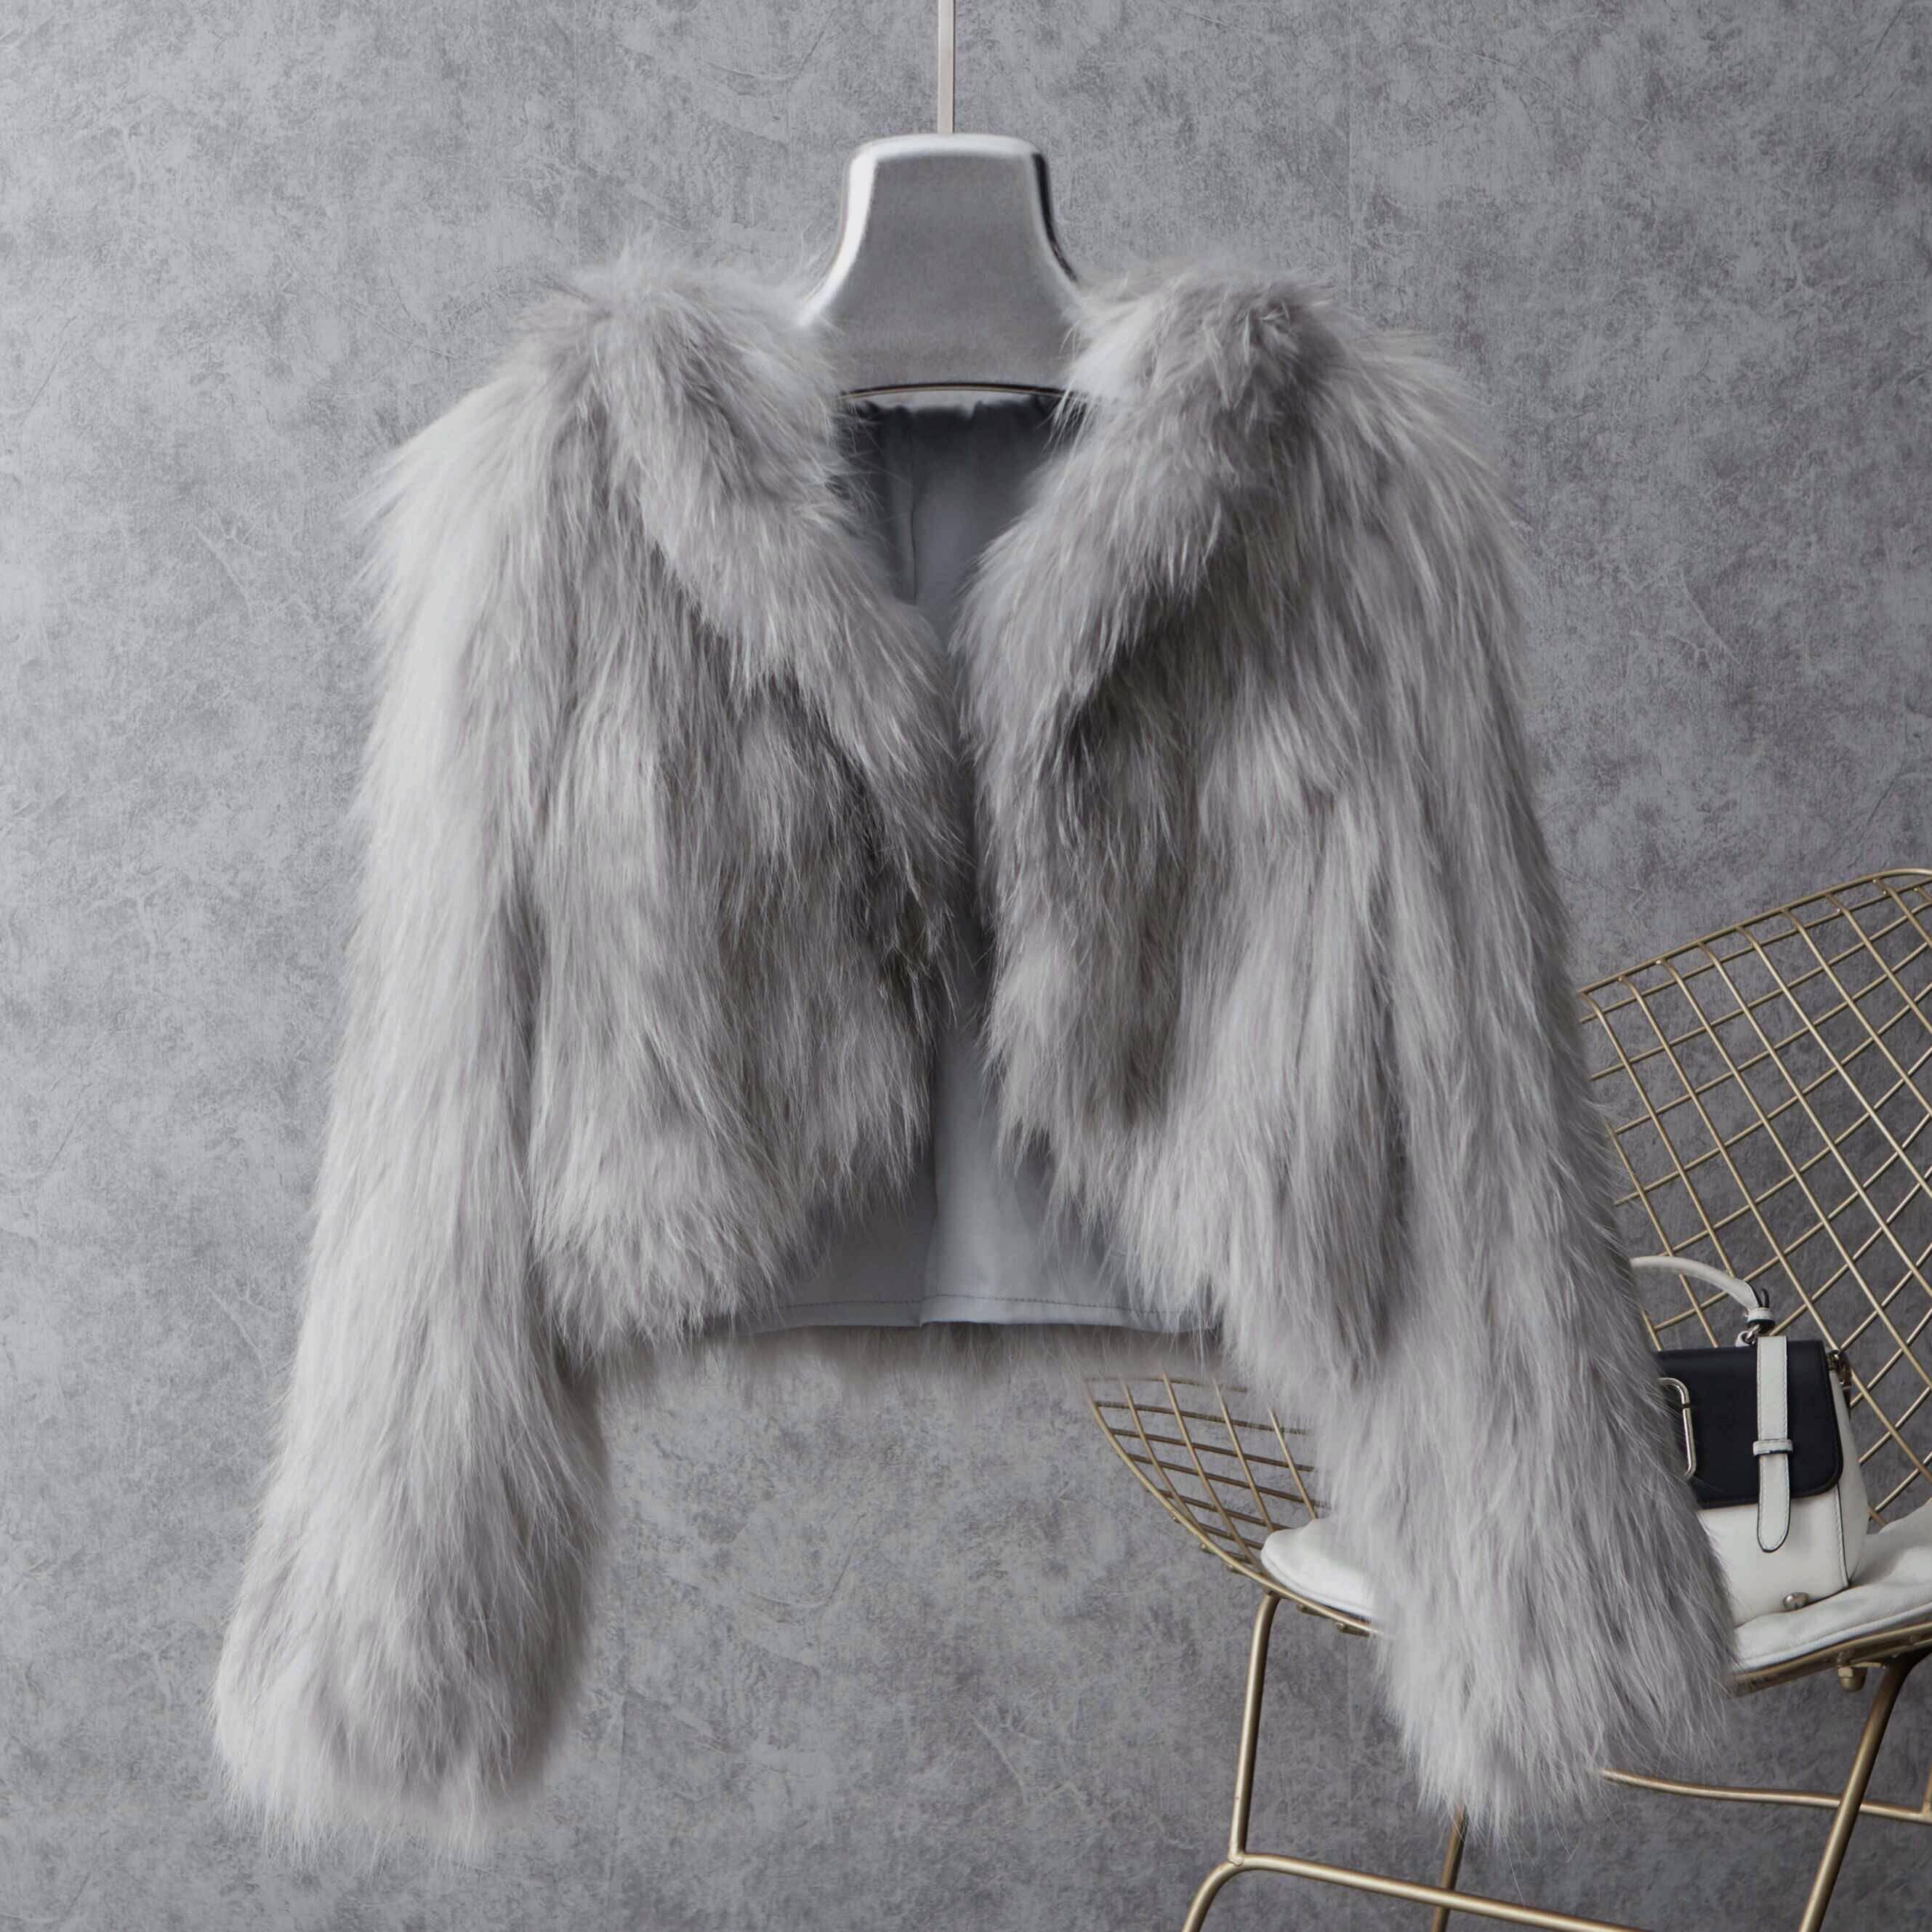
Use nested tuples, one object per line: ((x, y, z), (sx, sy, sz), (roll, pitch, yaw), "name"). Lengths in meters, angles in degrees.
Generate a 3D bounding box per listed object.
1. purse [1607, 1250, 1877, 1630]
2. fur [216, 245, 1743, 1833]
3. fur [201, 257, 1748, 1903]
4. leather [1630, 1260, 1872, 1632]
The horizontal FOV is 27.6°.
((0.526, 0.326, 2.736), (0.178, 0.247, 0.118), (-9, 4, 28), "purse")
((0.000, 0.015, 2.615), (1.112, 1.217, 0.218), (0, 5, 0), "fur")
((-0.004, 0.050, 2.640), (1.153, 1.261, 0.226), (0, 5, 0), "fur")
((0.555, 0.323, 2.733), (0.104, 0.239, 0.177), (-13, -1, -34), "leather")
